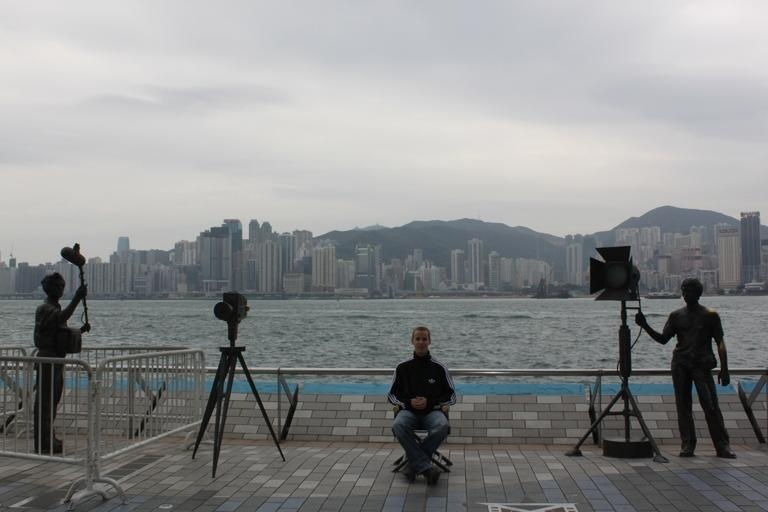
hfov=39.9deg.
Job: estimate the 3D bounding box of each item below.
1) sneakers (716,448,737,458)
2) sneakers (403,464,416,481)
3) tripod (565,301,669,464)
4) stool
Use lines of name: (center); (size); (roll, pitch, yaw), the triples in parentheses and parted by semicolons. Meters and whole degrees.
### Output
sneakers: (5.588, 3.200, 17.188); (0.324, 0.161, 0.198); (0, -2, 4)
sneakers: (0.417, 3.357, 16.385); (0.151, 0.243, 0.326); (1, -2, -20)
tripod: (3.997, 2.038, 17.820); (1.487, 2.595, 1.465); (0, -2, 11)
stool: (0.584, 2.869, 16.539); (1.044, 0.907, 1.382); (-1, 23, 7)
